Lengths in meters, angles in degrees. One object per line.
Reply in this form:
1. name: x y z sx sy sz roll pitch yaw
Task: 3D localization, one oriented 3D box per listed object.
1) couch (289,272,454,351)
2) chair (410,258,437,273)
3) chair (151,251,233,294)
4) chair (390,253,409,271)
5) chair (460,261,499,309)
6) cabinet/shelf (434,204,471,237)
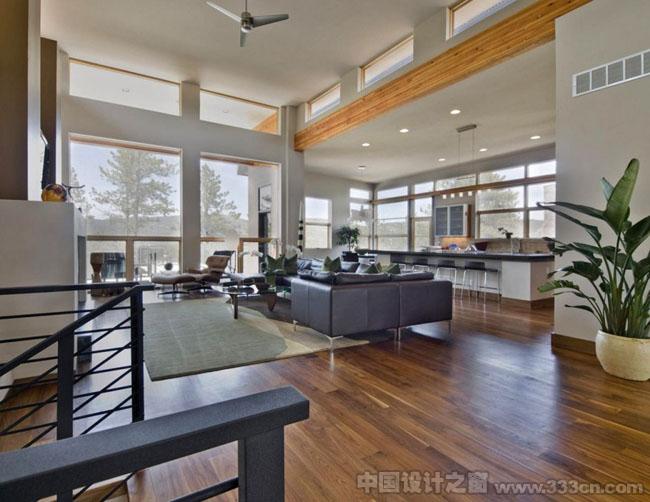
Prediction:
1. couch: 0.623 0.655 5.444 1.811 0.699 0.775 -3 13 -16
2. chair: 2.176 0.303 9.748 0.358 0.221 0.359 2 -1 -7
3. chair: -2.511 0.415 8.582 1.174 0.717 0.743 2 -5 -42
4. chair: 1.592 0.212 9.473 0.211 0.379 0.385 -2 1 -16
5. chair: 2.917 0.531 8.521 0.557 0.797 1.332 0 12 -2
6. cabinet/shelf: 3.438 -0.848 12.029 0.306 0.824 0.953 2 -2 -23
